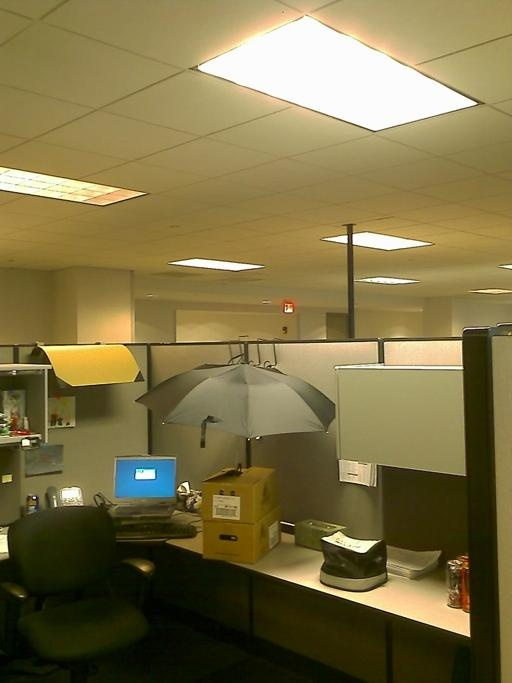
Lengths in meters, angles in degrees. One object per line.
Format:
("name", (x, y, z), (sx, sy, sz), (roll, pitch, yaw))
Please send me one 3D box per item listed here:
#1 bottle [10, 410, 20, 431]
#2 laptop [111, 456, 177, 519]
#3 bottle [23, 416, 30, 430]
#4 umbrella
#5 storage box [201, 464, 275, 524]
("bottle", (-1.290, 0.417, 2.903), (0.037, 0.088, 0.073), (0, -1, -24))
("laptop", (-0.634, 0.815, 3.084), (0.361, 0.275, 0.285), (2, 9, -5))
("bottle", (-1.234, 0.435, 2.910), (0.027, 0.065, 0.056), (0, -1, -17))
("umbrella", (-0.118, 0.262, 2.423), (0.866, 0.327, 0.476), (-1, -1, 24))
("storage box", (-0.041, 0.675, 2.480), (0.238, 0.140, 0.240), (-2, -4, 30))
